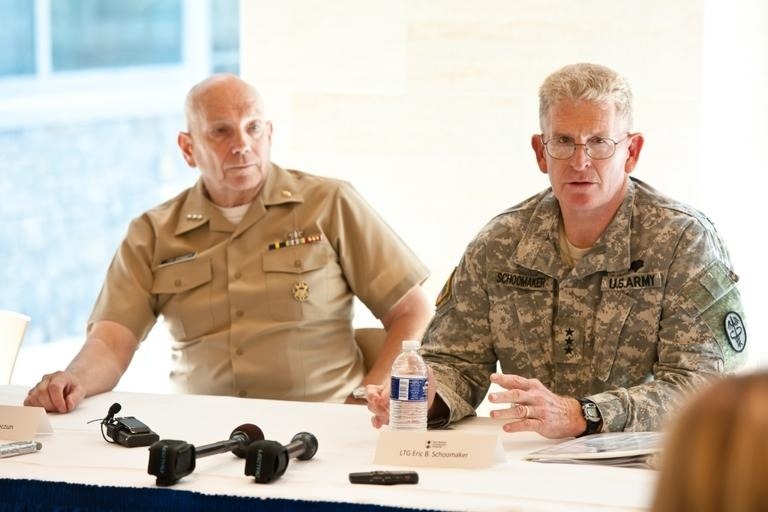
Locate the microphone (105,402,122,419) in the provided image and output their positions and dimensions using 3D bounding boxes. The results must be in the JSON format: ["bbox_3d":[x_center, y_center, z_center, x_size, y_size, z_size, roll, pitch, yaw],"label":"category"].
[{"bbox_3d":[-1.004,0.576,2.958,0.040,0.063,0.049,18,20,14],"label":"microphone"}]

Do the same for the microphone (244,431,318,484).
[{"bbox_3d":[-0.325,0.650,2.595,0.093,0.117,0.292,-8,-1,26],"label":"microphone"}]

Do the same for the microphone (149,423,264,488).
[{"bbox_3d":[-0.529,0.632,2.617,0.127,0.164,0.556,-6,-2,32],"label":"microphone"}]
